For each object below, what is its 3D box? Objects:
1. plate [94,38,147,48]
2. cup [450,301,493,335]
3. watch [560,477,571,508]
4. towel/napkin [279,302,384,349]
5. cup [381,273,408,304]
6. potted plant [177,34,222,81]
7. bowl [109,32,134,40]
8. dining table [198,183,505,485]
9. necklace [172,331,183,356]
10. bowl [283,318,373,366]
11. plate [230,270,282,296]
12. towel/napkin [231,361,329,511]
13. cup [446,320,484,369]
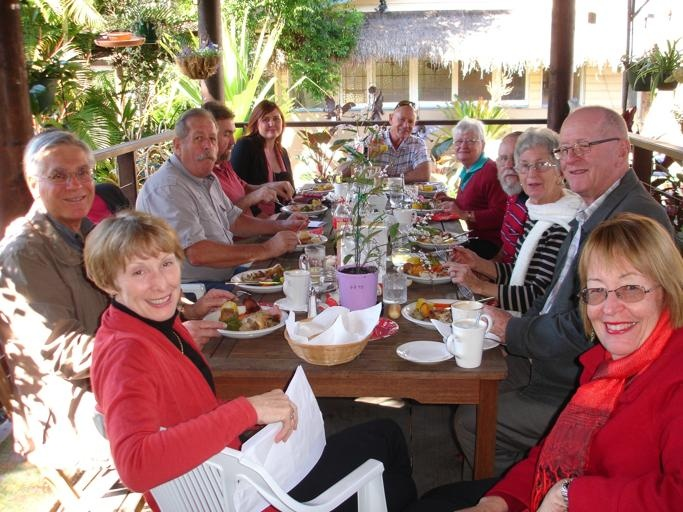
[{"bbox_3d":[-2.389,-2.302,5.621,0.452,0.104,0.408,12,21,42],"label":"plate"},{"bbox_3d":[0.420,0.205,1.739,0.148,0.095,0.091,1,13,6],"label":"cup"},{"bbox_3d":[0.545,0.580,1.266,0.018,0.077,0.063,5,19,24],"label":"watch"},{"bbox_3d":[-0.025,0.236,1.705,0.203,0.068,0.172,-1,13,23],"label":"towel/napkin"},{"bbox_3d":[0.215,0.141,2.178,0.099,0.099,0.104,-1,-3,0],"label":"cup"},{"bbox_3d":[-1.231,-1.710,4.521,0.397,0.304,0.395,10,24,26],"label":"potted plant"},{"bbox_3d":[-2.331,-2.297,5.450,0.218,0.098,0.151,-9,17,-21],"label":"bowl"},{"bbox_3d":[0.043,0.348,1.674,0.682,0.388,0.616,0,16,4],"label":"dining table"},{"bbox_3d":[-0.483,0.257,1.518,0.014,0.056,0.031,-32,19,-17],"label":"necklace"},{"bbox_3d":[-0.044,0.319,1.735,0.246,0.069,0.234,-5,-6,0],"label":"bowl"},{"bbox_3d":[-0.391,0.129,2.338,0.157,0.025,0.149,3,14,1],"label":"plate"},{"bbox_3d":[-0.163,0.481,1.386,0.075,0.228,0.376,-2,31,31],"label":"towel/napkin"},{"bbox_3d":[0.395,0.275,1.687,0.107,0.131,0.166,11,18,42],"label":"cup"}]
